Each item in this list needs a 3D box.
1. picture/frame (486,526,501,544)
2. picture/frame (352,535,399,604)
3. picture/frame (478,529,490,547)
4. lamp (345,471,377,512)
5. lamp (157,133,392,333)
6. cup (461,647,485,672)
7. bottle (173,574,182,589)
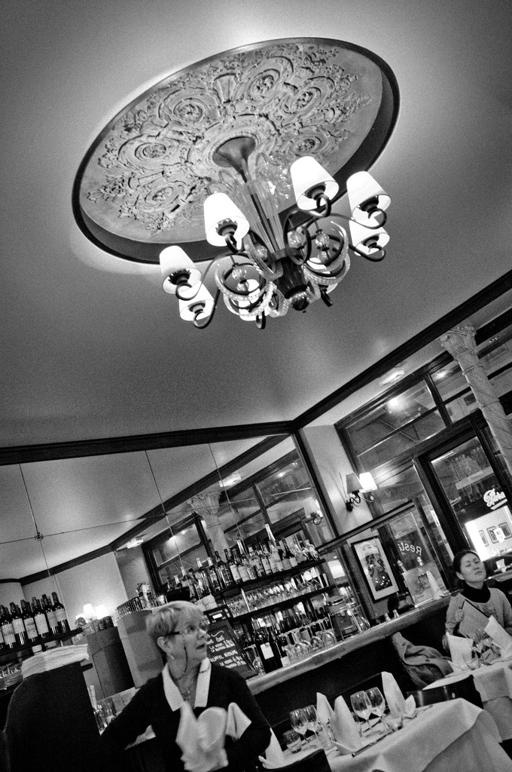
[{"bbox_3d":[3.299,2.047,7.227,0.031,0.172,0.188,-7,-25,-43],"label":"picture/frame"},{"bbox_3d":[1.846,2.777,8.068,0.516,0.646,0.100,-15,-19,-29],"label":"picture/frame"},{"bbox_3d":[3.199,2.122,7.325,0.022,0.307,0.215,4,-10,-25],"label":"picture/frame"},{"bbox_3d":[1.703,1.723,8.454,0.460,0.482,0.307,16,-36,-38],"label":"lamp"},{"bbox_3d":[0.071,-1.002,3.286,0.818,0.790,0.876,-36,-32,18],"label":"lamp"},{"bbox_3d":[1.305,1.642,3.149,0.077,0.103,0.054,27,-45,-17],"label":"cup"},{"bbox_3d":[-0.922,2.286,6.173,0.021,0.147,0.105,-33,-19,27],"label":"bottle"}]
